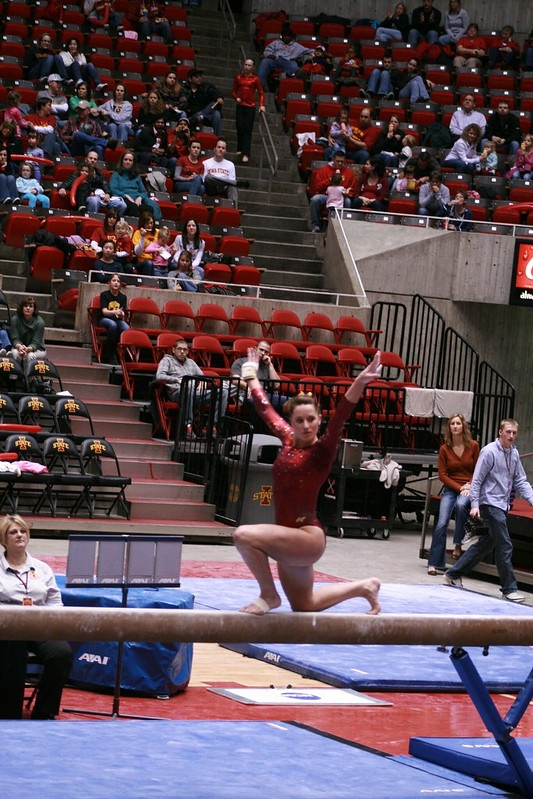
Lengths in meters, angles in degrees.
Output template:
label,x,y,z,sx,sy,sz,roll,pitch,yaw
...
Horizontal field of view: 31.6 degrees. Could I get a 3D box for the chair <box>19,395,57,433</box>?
label,x,y,z,sx,sy,sz,roll,pitch,yaw
chair,-2.406,0.155,10.147,0.352,0.490,0.436,0,-1,-25

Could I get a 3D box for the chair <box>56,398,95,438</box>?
label,x,y,z,sx,sy,sz,roll,pitch,yaw
chair,-2.095,0.227,10.369,0.384,0.429,0.787,7,-7,4

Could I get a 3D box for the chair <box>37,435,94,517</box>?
label,x,y,z,sx,sy,sz,roll,pitch,yaw
chair,-2.068,0.747,9.718,0.663,0.949,0.840,-1,0,-28

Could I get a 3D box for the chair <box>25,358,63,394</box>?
label,x,y,z,sx,sy,sz,roll,pitch,yaw
chair,-2.580,-0.242,10.774,0.397,0.534,0.435,-2,7,-26

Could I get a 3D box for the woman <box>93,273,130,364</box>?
label,x,y,z,sx,sy,sz,roll,pitch,yaw
woman,-1.966,-1.006,12.049,0.430,1.124,0.705,9,-7,-10
